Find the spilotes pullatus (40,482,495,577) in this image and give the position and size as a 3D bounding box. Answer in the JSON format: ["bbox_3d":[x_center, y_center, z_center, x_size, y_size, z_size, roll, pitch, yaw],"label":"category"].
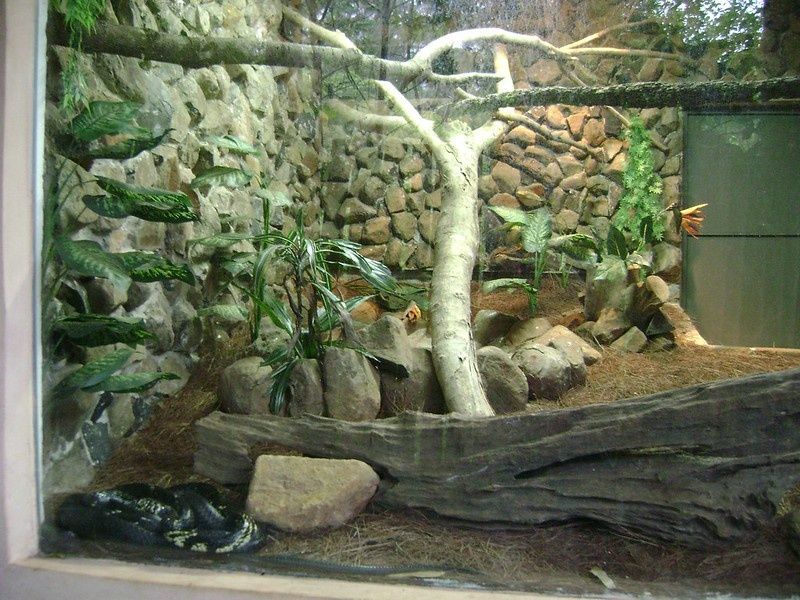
[{"bbox_3d":[-0.422,0.478,1.861,0.957,0.084,0.409,3,-10,17],"label":"spilotes pullatus"}]
